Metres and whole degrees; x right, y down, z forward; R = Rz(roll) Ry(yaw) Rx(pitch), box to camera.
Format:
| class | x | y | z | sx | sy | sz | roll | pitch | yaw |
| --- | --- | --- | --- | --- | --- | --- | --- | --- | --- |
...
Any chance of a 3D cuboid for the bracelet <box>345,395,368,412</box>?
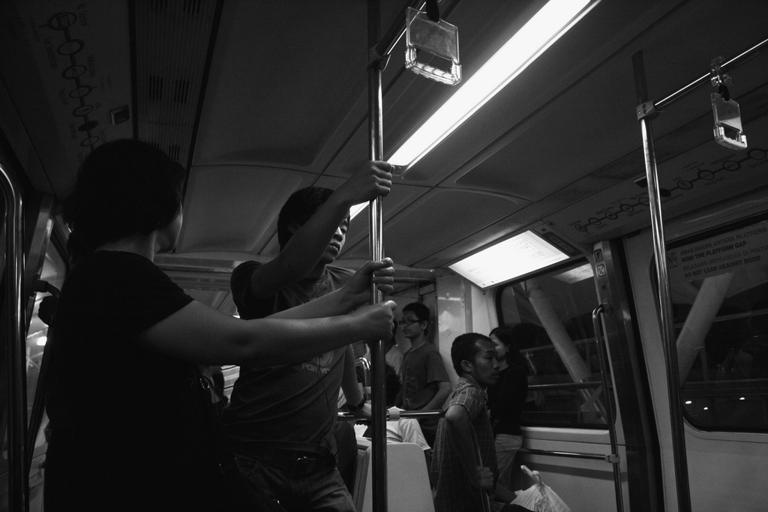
| class | x | y | z | sx | sy | sz | roll | pitch | yaw |
| --- | --- | --- | --- | --- | --- | --- | --- | --- | --- |
| bracelet | -0.154 | 0.869 | 3.235 | 0.128 | 0.081 | 0.174 | 2 | -12 | -8 |
